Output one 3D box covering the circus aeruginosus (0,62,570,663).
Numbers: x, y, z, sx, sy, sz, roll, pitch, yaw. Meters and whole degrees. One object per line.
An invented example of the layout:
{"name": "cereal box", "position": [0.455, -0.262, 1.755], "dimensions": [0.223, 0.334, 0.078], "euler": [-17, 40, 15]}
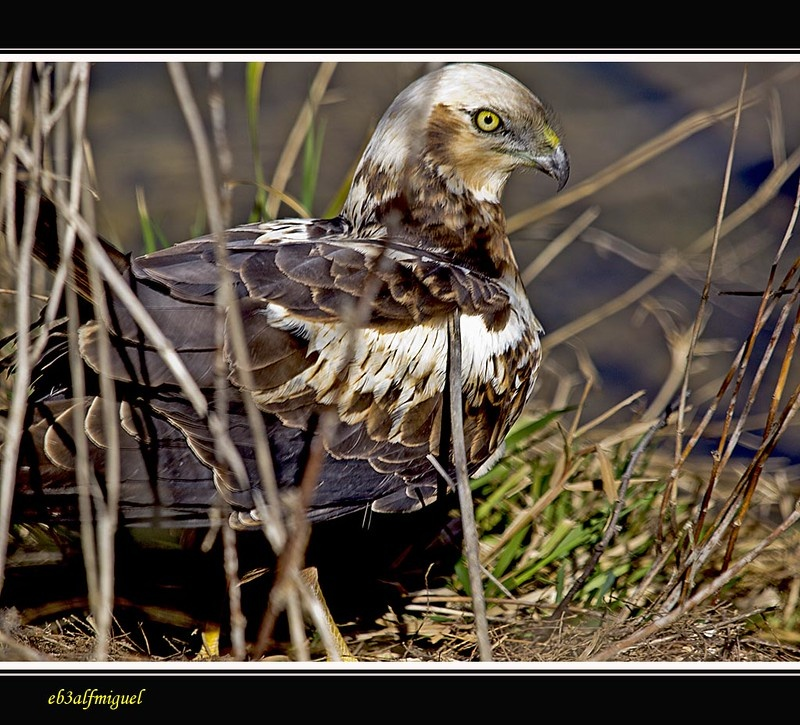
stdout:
{"name": "circus aeruginosus", "position": [-0.294, -0.104, 4.153], "dimensions": [1.757, 1.847, 1.126], "euler": [4, 1, -38]}
